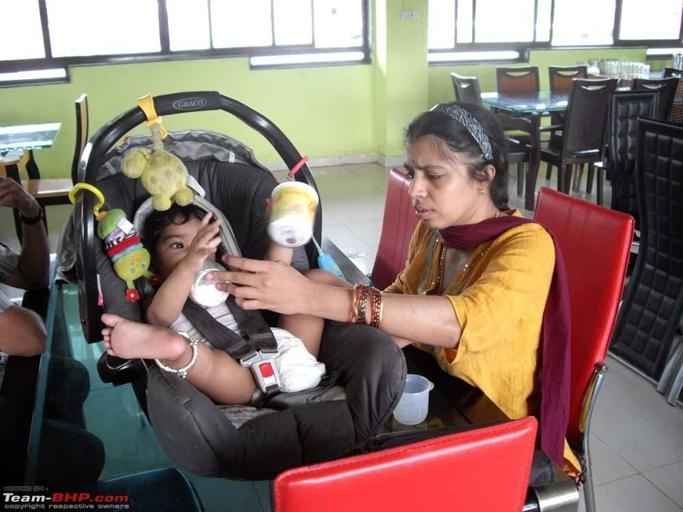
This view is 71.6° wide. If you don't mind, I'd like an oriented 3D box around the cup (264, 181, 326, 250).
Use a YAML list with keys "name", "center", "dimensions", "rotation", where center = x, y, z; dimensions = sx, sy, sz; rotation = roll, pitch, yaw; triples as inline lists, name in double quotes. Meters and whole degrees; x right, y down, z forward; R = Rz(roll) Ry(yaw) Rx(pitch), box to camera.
- name: "cup"
  center: [-0.126, -0.101, 1.264]
  dimensions: [0.136, 0.138, 0.141]
  rotation: [11, 50, -14]

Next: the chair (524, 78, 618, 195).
- name: "chair"
  center: [2.244, -1.135, 4.703]
  dimensions: [0.735, 1.129, 0.747]
  rotation: [-15, 19, -35]

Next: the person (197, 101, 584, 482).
- name: "person"
  center: [0.289, 0.217, 1.559]
  dimensions: [0.949, 1.309, 0.923]
  rotation: [-2, 7, 16]

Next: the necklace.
- name: "necklace"
  center: [0.351, -0.008, 1.350]
  dimensions: [0.116, 0.200, 0.162]
  rotation: [15, 22, -12]

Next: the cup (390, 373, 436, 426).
- name: "cup"
  center: [0.195, 0.382, 1.263]
  dimensions: [0.116, 0.097, 0.095]
  rotation: [-6, 11, -20]

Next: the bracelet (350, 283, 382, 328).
- name: "bracelet"
  center: [0.062, 0.121, 1.208]
  dimensions: [0.088, 0.096, 0.088]
  rotation: [4, 11, -4]

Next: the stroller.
- name: "stroller"
  center: [-0.306, 0.058, 1.431]
  dimensions: [0.654, 0.787, 1.082]
  rotation: [-10, 31, -29]
